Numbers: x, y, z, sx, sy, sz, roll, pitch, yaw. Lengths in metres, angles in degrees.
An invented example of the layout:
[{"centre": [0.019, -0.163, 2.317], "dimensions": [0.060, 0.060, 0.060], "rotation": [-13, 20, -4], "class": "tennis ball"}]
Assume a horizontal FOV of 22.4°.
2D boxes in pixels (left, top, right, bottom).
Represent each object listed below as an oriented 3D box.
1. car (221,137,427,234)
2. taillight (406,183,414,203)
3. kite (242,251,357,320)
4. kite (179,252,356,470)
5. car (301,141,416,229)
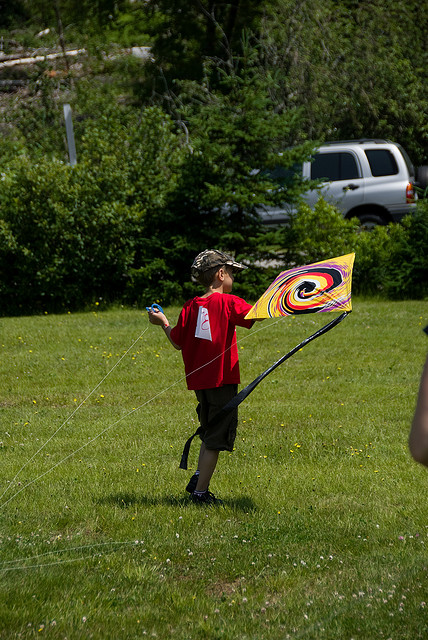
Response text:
[{"centre": [1.730, -2.279, 17.917], "dimensions": [3.438, 1.615, 1.553], "rotation": [2, 3, 6], "class": "car"}, {"centre": [3.191, -2.055, 17.574], "dimensions": [0.120, 0.295, 0.310], "rotation": [0, 12, 11], "class": "taillight"}, {"centre": [0.594, -0.221, 7.638], "dimensions": [0.788, 0.425, 0.768], "rotation": [-1, 11, 6], "class": "kite"}, {"centre": [0.301, 0.230, 7.619], "dimensions": [0.681, 1.883, 0.204], "rotation": [44, -1, 38], "class": "kite"}, {"centre": [2.562, -2.250, 18.056], "dimensions": [1.944, 1.373, 1.038], "rotation": [5, 14, 33], "class": "car"}]
